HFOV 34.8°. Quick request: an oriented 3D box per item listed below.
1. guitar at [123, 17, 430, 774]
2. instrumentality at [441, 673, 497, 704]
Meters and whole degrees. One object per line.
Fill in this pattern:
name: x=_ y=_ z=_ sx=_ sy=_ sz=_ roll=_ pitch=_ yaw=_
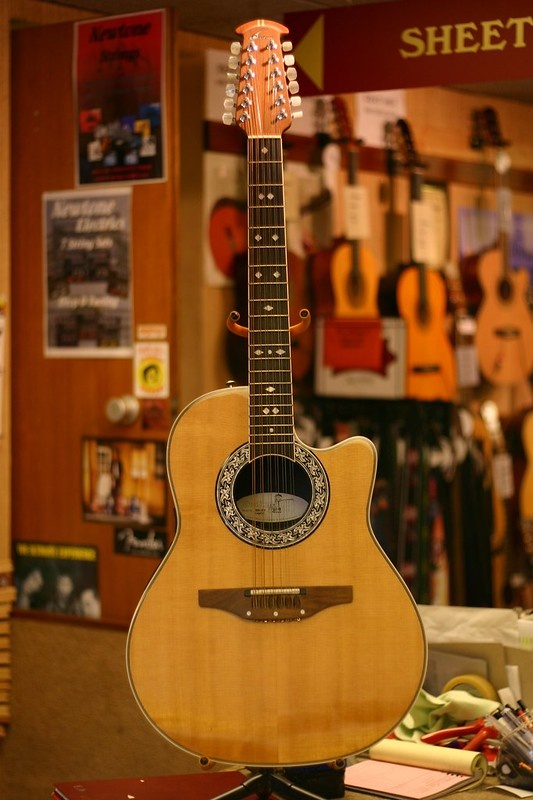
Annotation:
guitar: x=-0.044 y=-0.044 z=1.434 sx=0.487 sy=1.170 sz=0.512 roll=-7 pitch=15 yaw=-16
instrumentality: x=0.484 y=0.683 z=2.016 sx=0.132 sy=0.059 sz=0.074 roll=-2 pitch=15 yaw=4
